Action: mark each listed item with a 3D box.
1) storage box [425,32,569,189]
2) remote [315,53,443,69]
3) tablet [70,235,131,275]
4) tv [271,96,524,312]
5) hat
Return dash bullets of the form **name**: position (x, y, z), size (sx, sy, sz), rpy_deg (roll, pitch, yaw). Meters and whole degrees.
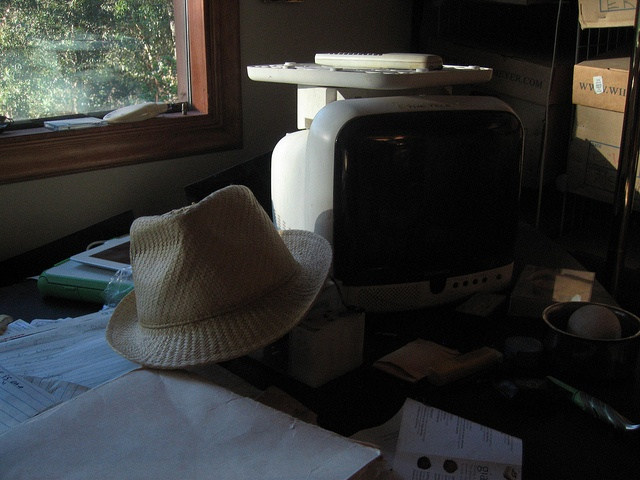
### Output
- **storage box**: position (0.508, -0.342, 1.363), size (0.181, 0.441, 0.505), rpy_deg (-21, 32, -34)
- **remote**: position (0.098, -0.355, 1.010), size (0.278, 0.030, 0.074), rpy_deg (13, 26, 26)
- **tablet**: position (-0.466, 0.032, 1.087), size (0.086, 0.028, 0.123), rpy_deg (19, 24, 30)
- **tv**: position (0.120, -0.103, 1.108), size (0.424, 0.398, 0.419), rpy_deg (-9, 18, -30)
- **hat**: position (-0.139, 0.032, 0.818), size (0.351, 0.239, 0.302), rpy_deg (-5, 23, -12)
